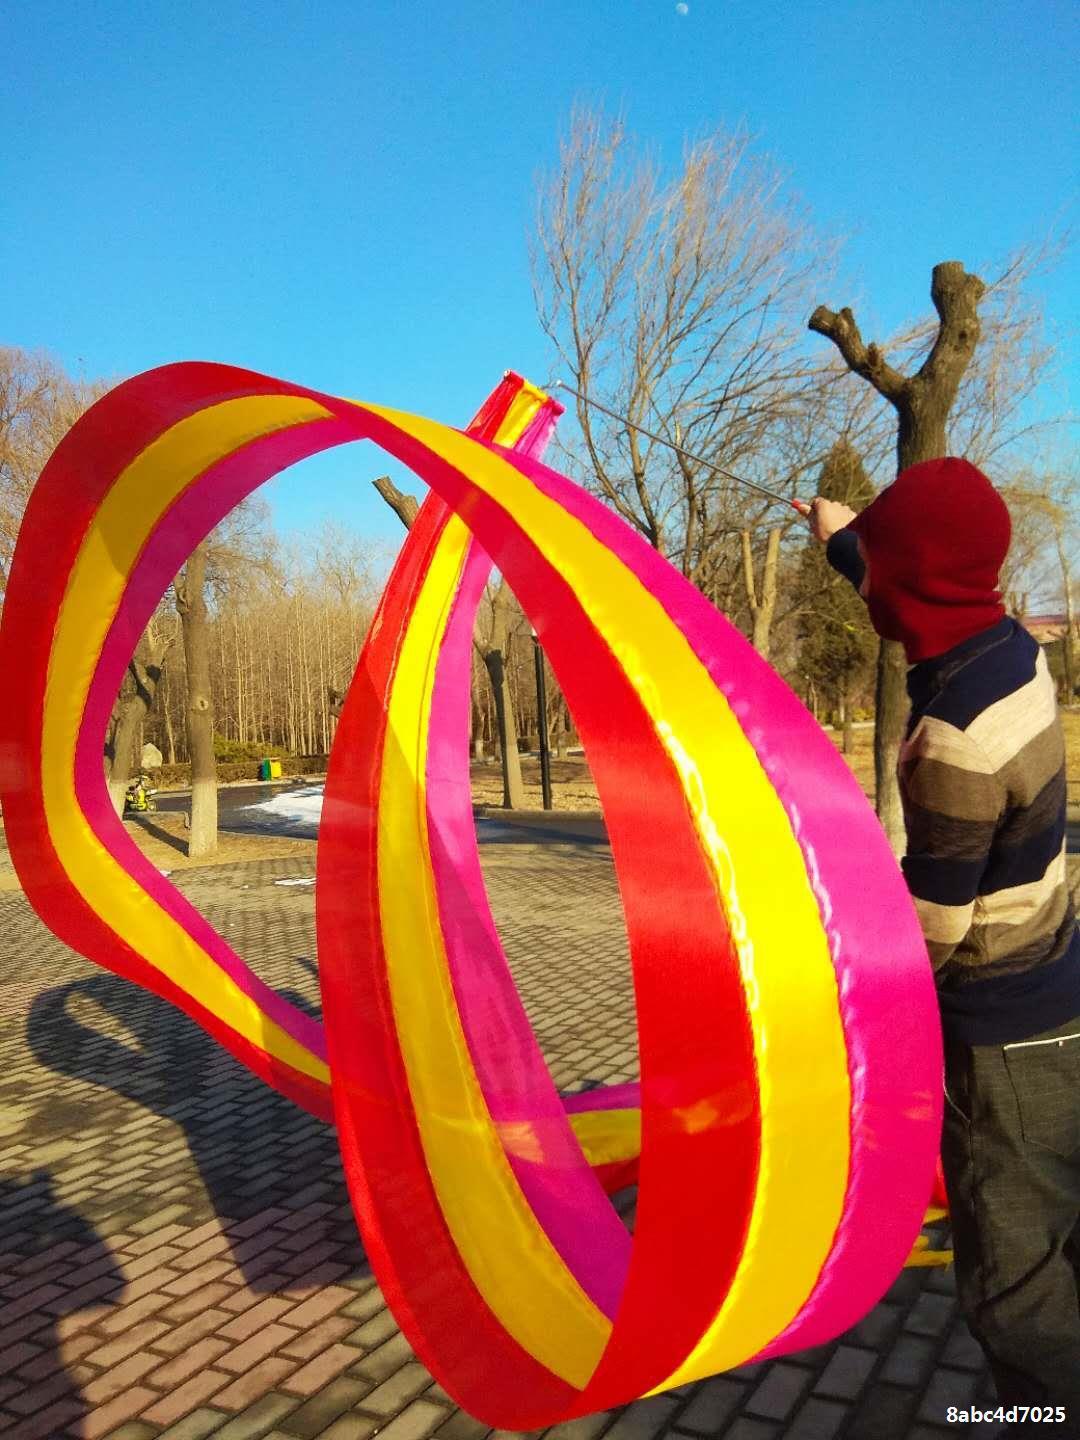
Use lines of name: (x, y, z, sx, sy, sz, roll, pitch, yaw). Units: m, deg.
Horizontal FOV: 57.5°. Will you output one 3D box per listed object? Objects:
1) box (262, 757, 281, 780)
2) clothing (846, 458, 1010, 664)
box: (-10.229, 1.870, 37.289, 0.781, 0.965, 0.710, -3, 7, -4)
clothing: (0.626, -0.271, 1.594, 0.264, 0.294, 0.245, 2, 20, -4)
